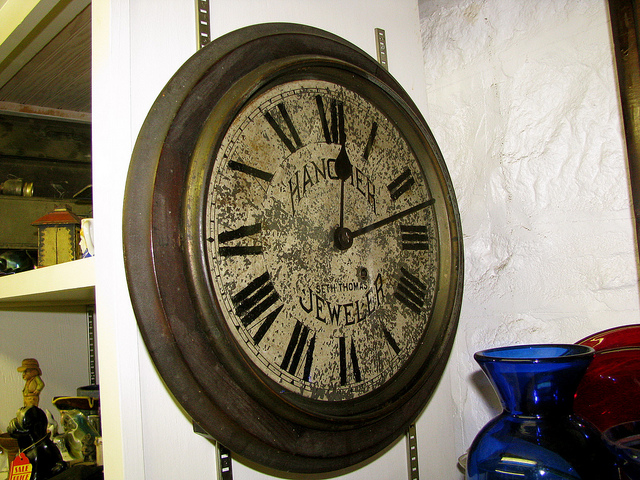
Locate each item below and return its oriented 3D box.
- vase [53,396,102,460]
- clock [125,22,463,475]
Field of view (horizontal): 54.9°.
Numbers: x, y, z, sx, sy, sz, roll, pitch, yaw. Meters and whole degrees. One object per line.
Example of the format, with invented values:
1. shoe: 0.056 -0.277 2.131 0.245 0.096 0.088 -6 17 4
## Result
1. vase: -0.692 0.539 1.742 0.106 0.187 0.247 2 -10 -36
2. clock: -0.079 0.028 1.381 0.826 1.149 0.113 -11 2 -37
